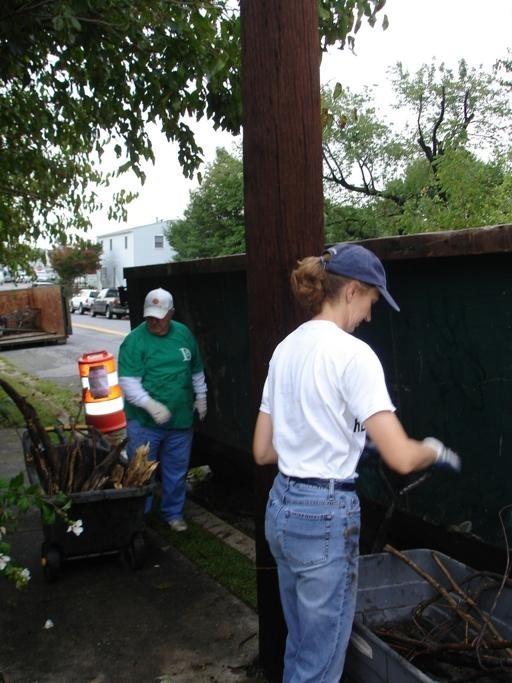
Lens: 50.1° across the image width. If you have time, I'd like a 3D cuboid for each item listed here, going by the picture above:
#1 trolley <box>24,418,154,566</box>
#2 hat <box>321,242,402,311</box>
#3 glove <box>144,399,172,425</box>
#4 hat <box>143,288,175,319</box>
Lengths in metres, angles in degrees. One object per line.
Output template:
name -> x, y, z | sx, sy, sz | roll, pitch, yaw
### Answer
trolley -> -1.138, 1.060, 3.765 | 0.763, 0.967, 1.103 | -3, 3, -26
hat -> 0.337, -0.184, 1.660 | 0.248, 0.124, 0.151 | 28, 1, -18
glove -> -0.721, 0.518, 4.018 | 0.133, 0.208, 0.079 | -42, 17, 2
hat -> -0.717, -0.293, 4.086 | 0.166, 0.133, 0.245 | 8, 27, 5
